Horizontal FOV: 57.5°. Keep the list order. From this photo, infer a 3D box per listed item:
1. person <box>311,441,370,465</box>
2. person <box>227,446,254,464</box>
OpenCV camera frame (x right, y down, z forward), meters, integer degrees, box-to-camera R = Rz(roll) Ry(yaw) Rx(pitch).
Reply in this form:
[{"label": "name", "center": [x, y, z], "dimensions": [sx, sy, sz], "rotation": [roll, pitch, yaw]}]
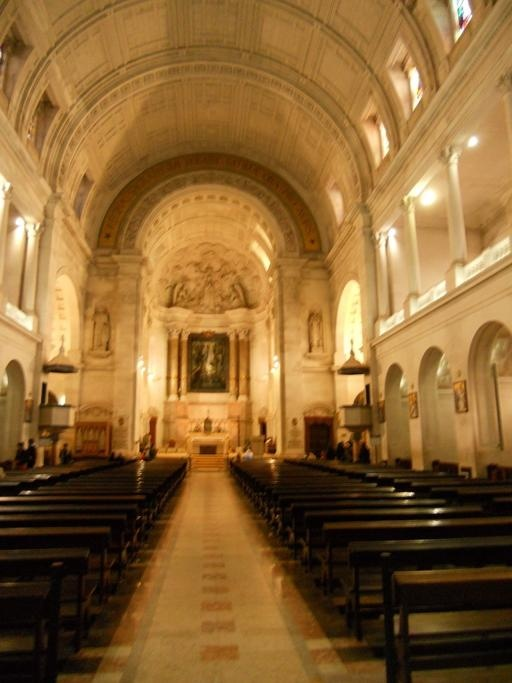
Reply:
[{"label": "person", "center": [3.460, 4.642, 19.094], "dimensions": [2.892, 1.269, 0.924], "rotation": [-8, -11, 28]}, {"label": "person", "center": [-0.957, 6.669, 27.063], "dimensions": [1.443, 0.748, 2.126], "rotation": [0, -11, 4]}]
